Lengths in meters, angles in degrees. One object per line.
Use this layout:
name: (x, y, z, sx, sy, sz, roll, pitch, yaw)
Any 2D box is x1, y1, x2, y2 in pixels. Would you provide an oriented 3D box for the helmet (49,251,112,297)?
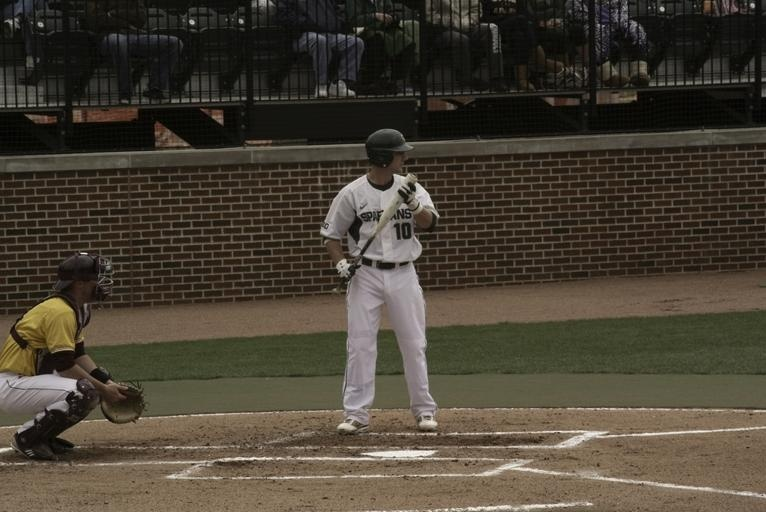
helmet: (-3.810, 0.211, 23.104, 0.687, 0.503, 0.497, -6, 13, -30)

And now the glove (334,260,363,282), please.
glove: (-0.461, 0.207, 23.544, 0.238, 0.310, 0.133, 1, 24, -1)

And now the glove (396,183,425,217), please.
glove: (0.369, -0.741, 23.386, 0.187, 0.405, 0.289, -14, 27, 42)

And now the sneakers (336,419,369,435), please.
sneakers: (-0.409, 2.185, 23.434, 0.410, 0.171, 0.162, 3, -8, -6)

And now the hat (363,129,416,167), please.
hat: (0.086, -1.419, 23.705, 0.569, 0.435, 0.412, -1, 8, 2)

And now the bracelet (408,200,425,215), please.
bracelet: (0.401, -0.619, 23.429, 0.184, 0.146, 0.150, 25, -31, -4)
